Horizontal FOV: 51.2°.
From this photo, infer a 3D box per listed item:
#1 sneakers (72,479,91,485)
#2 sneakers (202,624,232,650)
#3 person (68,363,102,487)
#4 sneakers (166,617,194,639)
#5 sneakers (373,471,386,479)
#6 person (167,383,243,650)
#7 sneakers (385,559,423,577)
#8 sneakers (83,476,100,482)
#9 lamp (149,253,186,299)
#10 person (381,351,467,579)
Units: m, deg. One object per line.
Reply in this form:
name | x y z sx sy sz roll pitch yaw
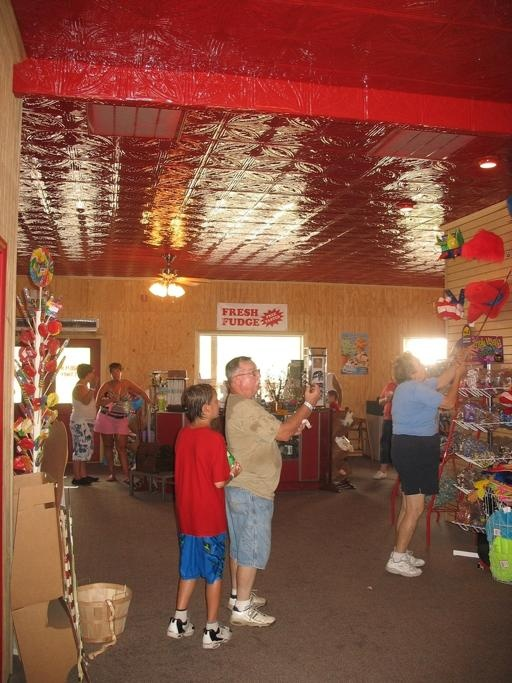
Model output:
sneakers | -2.460 1.985 7.538 0.270 0.096 0.093 -1 -3 -5
sneakers | -0.192 1.550 2.856 0.084 0.097 0.214 -2 -4 35
person | -2.467 1.173 7.615 0.363 1.265 0.917 -2 1 -16
sneakers | -0.420 1.546 2.903 0.102 0.095 0.207 0 -7 12
sneakers | 1.887 2.057 8.222 0.109 0.118 0.295 -15 -21 31
person | -0.275 0.927 2.793 0.316 1.408 0.419 -2 1 -35
sneakers | 1.074 1.673 3.929 0.262 0.110 0.108 2 2 1
sneakers | -2.383 1.992 7.764 0.090 0.090 0.241 5 -1 15
lamp | -1.279 -1.034 7.784 0.501 0.511 0.479 -6 -11 25
person | 1.203 0.916 3.955 0.437 1.654 0.475 -2 1 -29
